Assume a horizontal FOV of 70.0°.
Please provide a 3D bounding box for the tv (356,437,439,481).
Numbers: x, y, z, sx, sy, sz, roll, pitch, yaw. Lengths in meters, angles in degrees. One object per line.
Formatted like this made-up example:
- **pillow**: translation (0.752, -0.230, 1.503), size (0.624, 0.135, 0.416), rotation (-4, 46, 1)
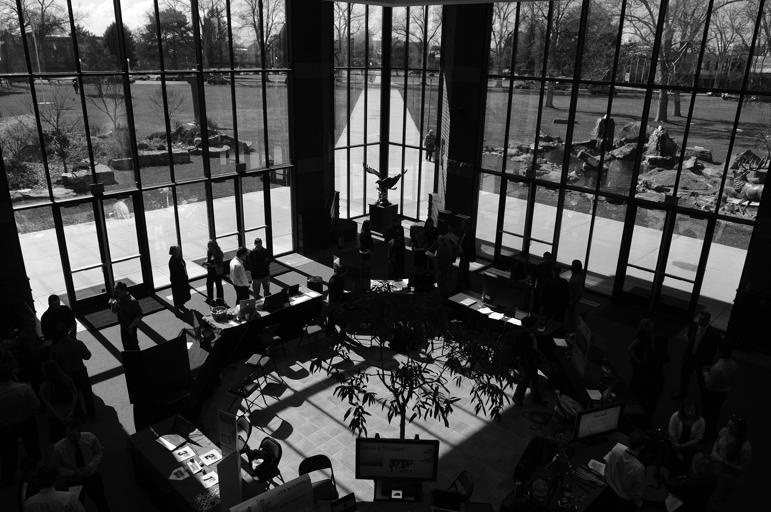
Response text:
- **tv**: translation (0.214, 3.753, 10.224), size (1.500, 0.797, 0.133), rotation (2, 7, 0)

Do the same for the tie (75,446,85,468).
- **tie**: translation (-5.675, 3.738, 10.254), size (0.146, 0.386, 0.150), rotation (-9, 26, -18)

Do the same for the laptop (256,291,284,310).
- **laptop**: translation (-3.123, 1.174, 15.173), size (0.707, 0.452, 0.495), rotation (-13, 31, -26)

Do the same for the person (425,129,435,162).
- **person**: translation (1.939, -4.635, 23.150), size (0.539, 1.354, 0.201), rotation (22, 33, 40)
